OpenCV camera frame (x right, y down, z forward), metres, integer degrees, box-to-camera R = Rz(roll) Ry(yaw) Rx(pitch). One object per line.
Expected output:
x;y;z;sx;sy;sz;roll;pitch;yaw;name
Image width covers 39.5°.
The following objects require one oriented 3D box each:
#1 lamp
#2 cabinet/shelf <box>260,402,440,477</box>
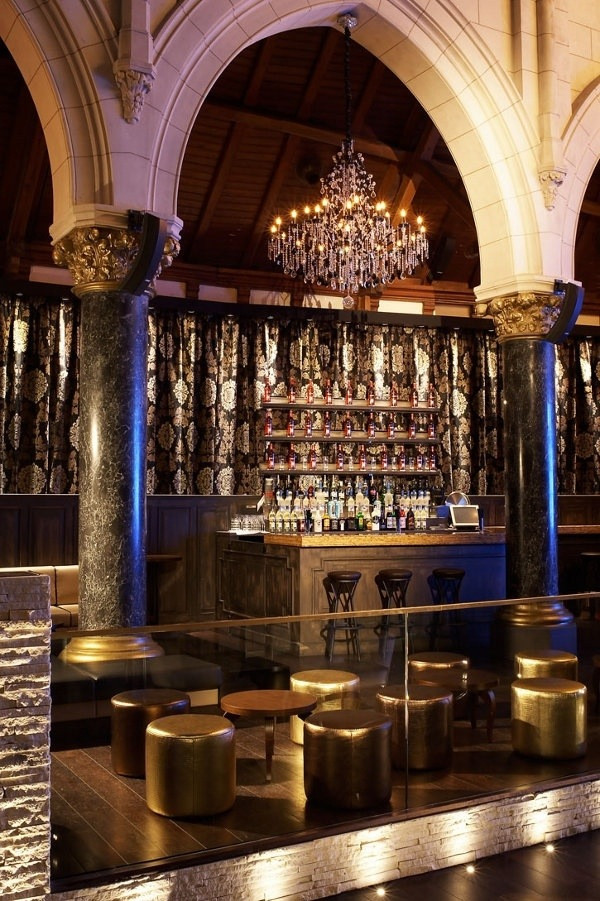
0.453;-2.550;7.993;1.561;2.441;3.103;0;-5;3;lamp
0.599;-0.154;9.236;2.159;0.840;0.434;2;-5;-23;cabinet/shelf
